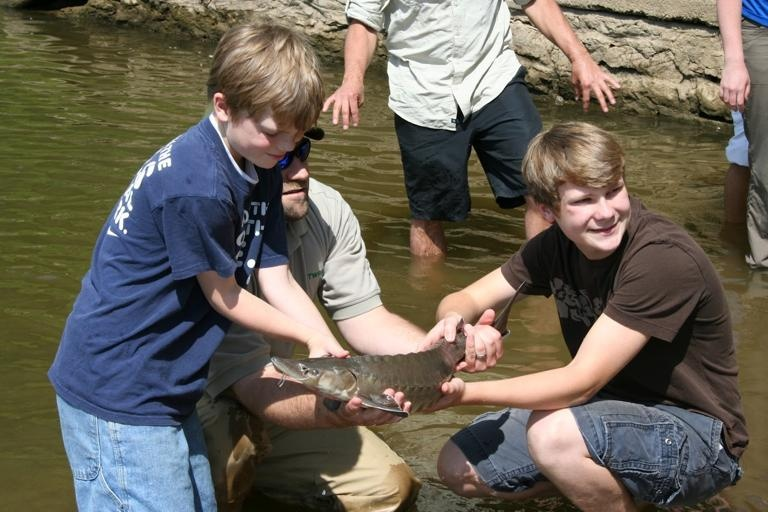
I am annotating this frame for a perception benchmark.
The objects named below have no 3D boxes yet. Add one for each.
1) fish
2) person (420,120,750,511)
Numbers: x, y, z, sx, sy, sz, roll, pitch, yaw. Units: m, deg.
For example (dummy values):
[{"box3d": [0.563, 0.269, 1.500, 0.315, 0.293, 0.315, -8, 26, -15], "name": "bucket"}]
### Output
[{"box3d": [0.080, 0.549, 4.275, 1.008, 0.252, 0.387, -9, 22, -40], "name": "fish"}, {"box3d": [1.161, 0.343, 4.263, 1.481, 1.907, 0.733, 10, 21, 21], "name": "person"}]
